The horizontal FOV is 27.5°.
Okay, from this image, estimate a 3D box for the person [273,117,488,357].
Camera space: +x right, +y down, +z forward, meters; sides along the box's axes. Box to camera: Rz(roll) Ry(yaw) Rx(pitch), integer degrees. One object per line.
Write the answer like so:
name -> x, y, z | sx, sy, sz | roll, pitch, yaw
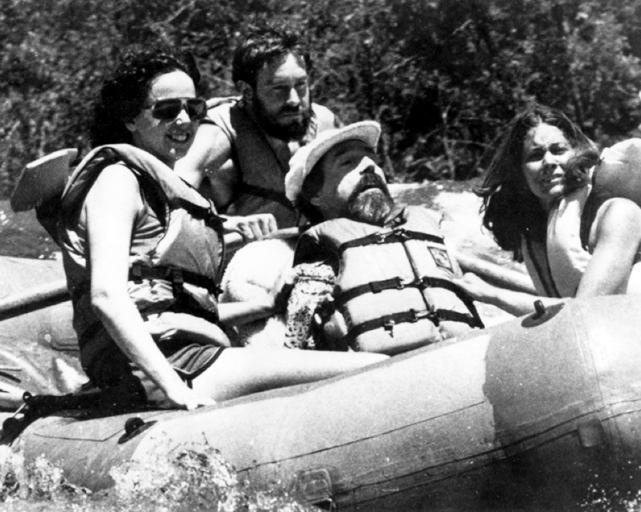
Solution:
person -> 0.294, -0.064, 7.357 | 1.127, 1.320, 0.607 | -7, -25, -27
